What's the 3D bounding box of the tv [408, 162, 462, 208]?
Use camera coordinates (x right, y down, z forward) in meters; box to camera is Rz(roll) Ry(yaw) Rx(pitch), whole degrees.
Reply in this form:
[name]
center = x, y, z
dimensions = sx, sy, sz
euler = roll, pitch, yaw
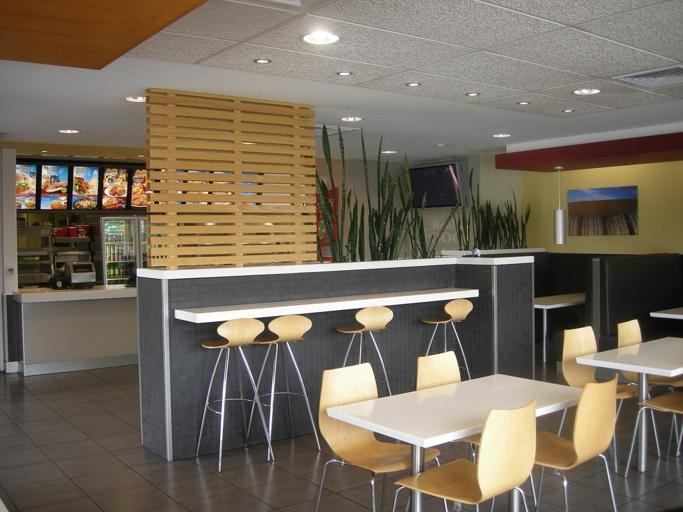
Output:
[tv]
center = 1.897, -1.388, 10.169
dimensions = 0.160, 0.862, 1.375
euler = -16, 12, -35
